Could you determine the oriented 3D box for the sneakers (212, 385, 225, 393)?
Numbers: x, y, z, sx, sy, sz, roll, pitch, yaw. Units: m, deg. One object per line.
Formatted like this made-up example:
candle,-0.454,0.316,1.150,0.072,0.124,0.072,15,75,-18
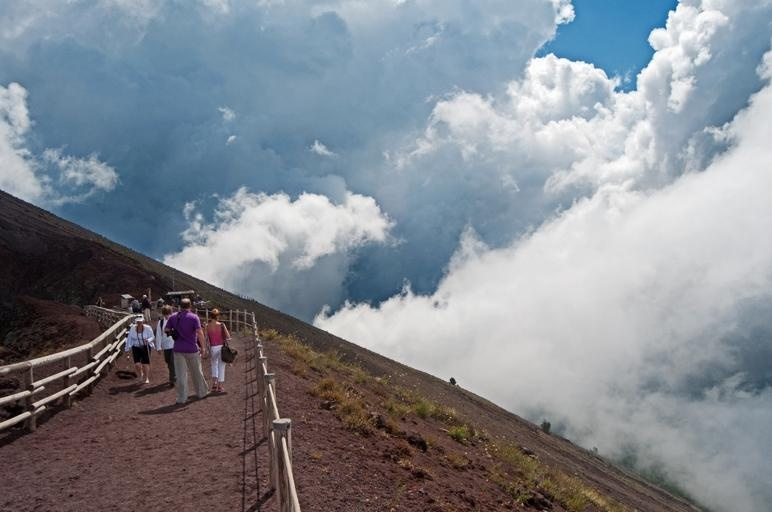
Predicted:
sneakers,-7.054,5.617,23.352,0.223,0.311,0.697,-1,-4,1
